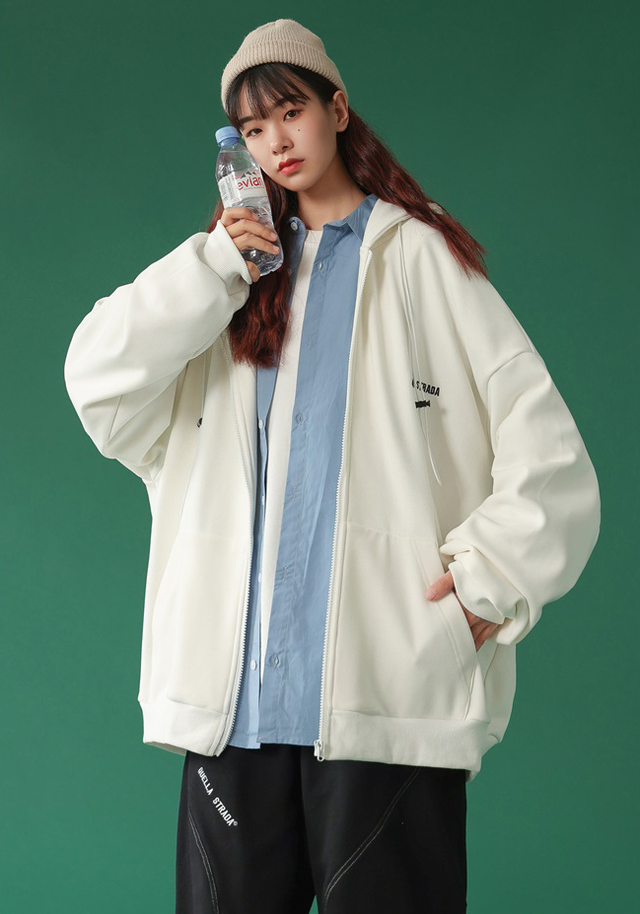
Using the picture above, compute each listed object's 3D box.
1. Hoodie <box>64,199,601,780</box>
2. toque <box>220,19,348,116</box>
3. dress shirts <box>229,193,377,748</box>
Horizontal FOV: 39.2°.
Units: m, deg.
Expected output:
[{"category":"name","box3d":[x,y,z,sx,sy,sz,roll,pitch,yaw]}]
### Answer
[{"category":"Hoodie","box3d":[0.008,0.027,1.558,0.938,0.863,0.513,3,-4,15]},{"category":"toque","box3d":[-0.062,-0.637,1.465,0.159,0.099,0.155,4,-30,-19]},{"category":"dress shirts","box3d":[-0.026,-0.001,1.444,0.291,0.887,0.105,-7,-11,11]}]
